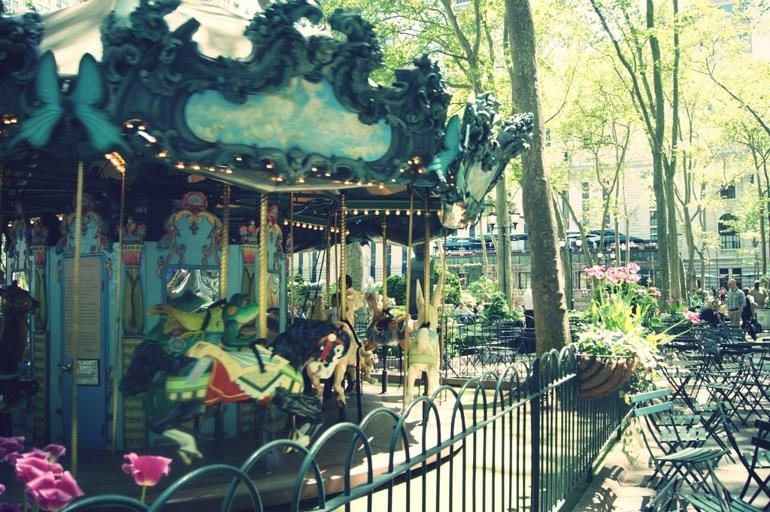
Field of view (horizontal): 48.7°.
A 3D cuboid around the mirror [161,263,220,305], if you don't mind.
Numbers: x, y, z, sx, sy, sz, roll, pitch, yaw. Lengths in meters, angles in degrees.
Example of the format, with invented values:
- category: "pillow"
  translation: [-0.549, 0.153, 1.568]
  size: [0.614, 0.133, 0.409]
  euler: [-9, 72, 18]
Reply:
- category: "mirror"
  translation: [-3.207, 0.437, 14.136]
  size: [1.002, 0.704, 0.530]
  euler: [-1, 3, -6]

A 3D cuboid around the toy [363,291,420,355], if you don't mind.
- category: "toy"
  translation: [0.167, 1.318, 16.000]
  size: [0.494, 0.843, 1.264]
  euler: [-30, 30, -28]

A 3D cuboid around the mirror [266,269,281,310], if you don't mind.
- category: "mirror"
  translation: [-2.016, 0.615, 15.257]
  size: [0.179, 0.649, 0.521]
  euler: [-1, -2, 4]
